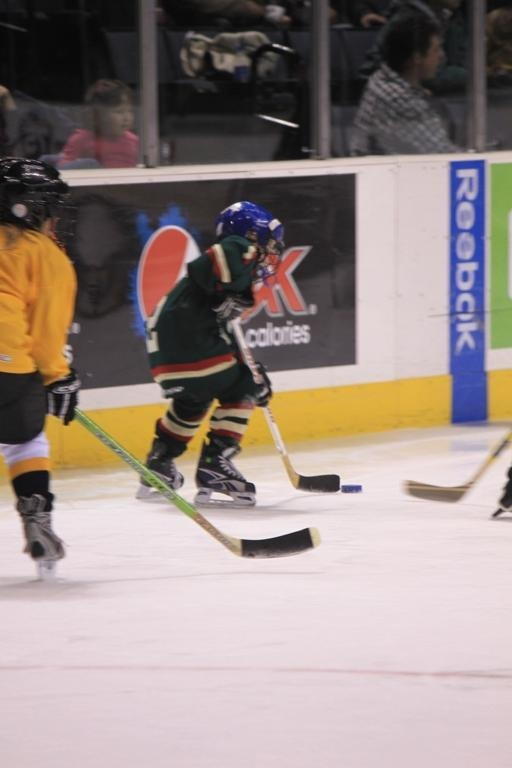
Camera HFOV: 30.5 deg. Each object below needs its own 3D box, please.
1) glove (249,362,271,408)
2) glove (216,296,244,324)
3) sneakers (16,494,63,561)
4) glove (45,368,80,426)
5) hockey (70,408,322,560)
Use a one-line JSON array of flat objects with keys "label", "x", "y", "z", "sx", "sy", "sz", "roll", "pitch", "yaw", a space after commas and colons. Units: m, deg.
[{"label": "glove", "x": 0.018, "y": -0.005, "z": 3.192, "sx": 0.049, "sy": 0.136, "sz": 0.079, "roll": -13, "pitch": 38, "yaw": 0}, {"label": "glove", "x": -0.091, "y": -0.245, "z": 3.123, "sx": 0.064, "sy": 0.027, "sz": 0.085, "roll": -37, "pitch": 21, "yaw": -16}, {"label": "sneakers", "x": -0.536, "y": 0.336, "z": 2.291, "sx": 0.080, "sy": 0.089, "sz": 0.206, "roll": -11, "pitch": 32, "yaw": -24}, {"label": "glove", "x": -0.504, "y": 0.037, "z": 2.365, "sx": 0.094, "sy": 0.105, "sz": 0.092, "roll": 9, "pitch": 0, "yaw": 3}, {"label": "hockey", "x": -0.235, "y": 0.338, "z": 3.128, "sx": 0.812, "sy": 0.092, "sz": 0.101, "roll": 29, "pitch": -4, "yaw": 38}]
